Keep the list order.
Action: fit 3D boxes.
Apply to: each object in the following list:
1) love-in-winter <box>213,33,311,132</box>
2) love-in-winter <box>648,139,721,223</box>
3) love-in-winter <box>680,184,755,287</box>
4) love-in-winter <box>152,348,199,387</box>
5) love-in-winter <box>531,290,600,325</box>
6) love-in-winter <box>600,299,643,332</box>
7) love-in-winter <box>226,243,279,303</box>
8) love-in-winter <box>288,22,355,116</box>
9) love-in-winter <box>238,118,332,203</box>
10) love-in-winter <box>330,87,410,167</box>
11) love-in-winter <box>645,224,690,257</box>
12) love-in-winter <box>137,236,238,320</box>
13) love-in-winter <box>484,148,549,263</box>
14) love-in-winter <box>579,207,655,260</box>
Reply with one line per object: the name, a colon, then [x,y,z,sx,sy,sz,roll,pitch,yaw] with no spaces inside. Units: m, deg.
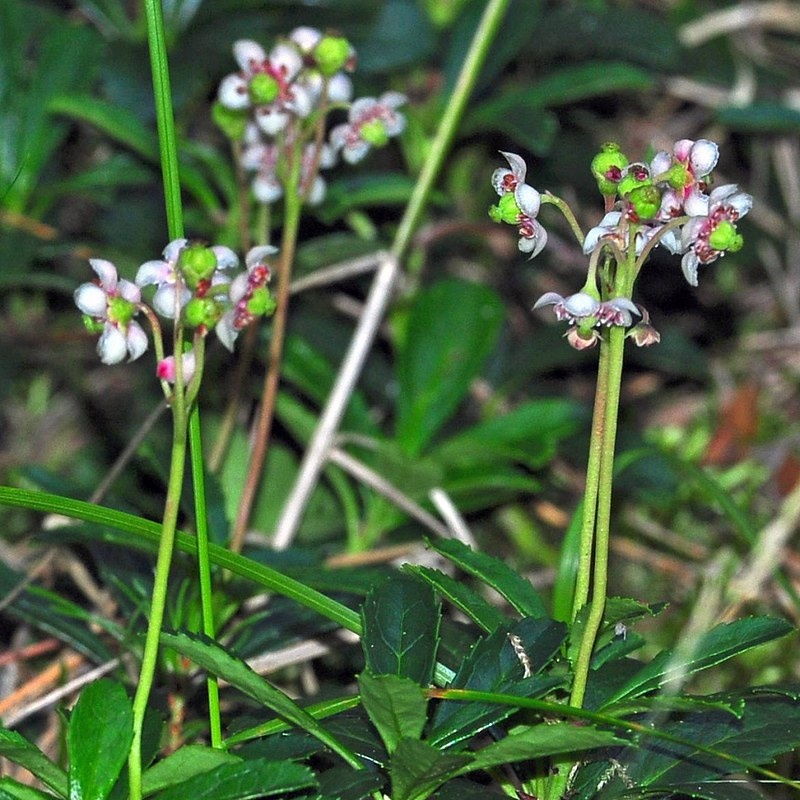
love-in-winter: [-0.209,-0.473,1.482,0.166,0.159,0.051,4,71,-1]
love-in-winter: [0.296,-0.251,1.093,0.080,0.080,0.025,2,75,30]
love-in-winter: [0.333,-0.179,1.073,0.055,0.096,0.110,13,32,20]
love-in-winter: [-0.242,-0.028,1.084,0.049,0.033,0.020,4,9,-15]
love-in-winter: [0.181,-0.105,1.076,0.053,0.049,0.017,4,86,-3]
love-in-winter: [0.238,-0.089,1.070,0.039,0.033,0.020,-14,17,20]
love-in-winter: [-0.169,-0.138,1.124,0.019,0.073,0.055,34,52,12]
love-in-winter: [-0.119,-0.492,1.499,0.064,0.104,0.141,-20,42,-35]
love-in-winter: [-0.201,-0.382,1.638,0.165,0.133,0.058,2,13,8]
love-in-winter: [-0.045,-0.398,1.459,0.105,0.123,0.073,-2,50,-6]
love-in-winter: [0.295,-0.176,1.116,0.041,0.035,0.015,-11,18,44]
love-in-winter: [-0.223,-0.141,1.081,0.110,0.091,0.026,0,64,-17]
love-in-winter: [0.132,-0.213,1.111,0.070,0.088,0.047,-12,61,-3]
love-in-winter: [0.234,-0.173,1.091,0.069,0.023,0.063,-17,4,-11]
